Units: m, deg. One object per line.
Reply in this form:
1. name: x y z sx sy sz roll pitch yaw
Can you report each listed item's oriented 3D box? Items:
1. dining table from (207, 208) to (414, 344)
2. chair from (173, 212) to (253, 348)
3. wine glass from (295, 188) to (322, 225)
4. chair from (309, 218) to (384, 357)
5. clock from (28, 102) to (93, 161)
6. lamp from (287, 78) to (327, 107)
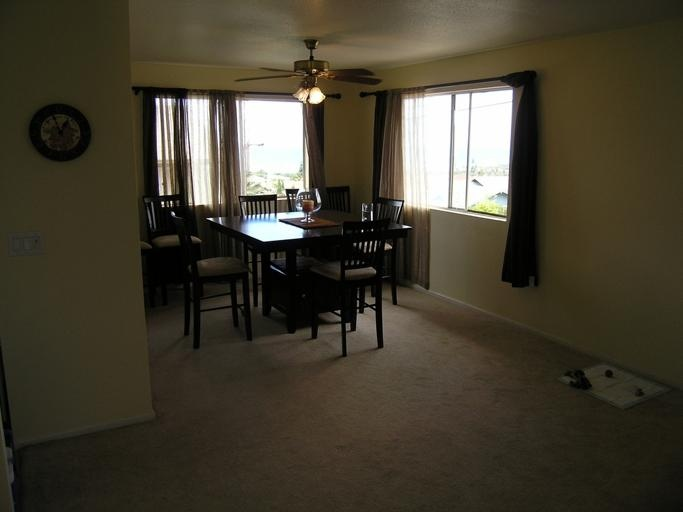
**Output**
1. dining table: -0.531 -0.160 4.866 1.327 0.934 1.406 -6 13 -30
2. chair: -1.250 0.123 5.019 0.670 1.159 1.361 -3 11 -14
3. wine glass: -0.365 -0.512 5.312 0.321 0.462 0.328 1 5 -13
4. chair: 0.068 0.207 4.726 0.735 1.150 0.868 -3 11 -15
5. clock: -1.709 -0.746 3.098 0.333 0.333 0.061 -3 10 -13
6. lamp: -0.315 -1.509 4.836 0.344 0.262 0.435 -8 22 -30
